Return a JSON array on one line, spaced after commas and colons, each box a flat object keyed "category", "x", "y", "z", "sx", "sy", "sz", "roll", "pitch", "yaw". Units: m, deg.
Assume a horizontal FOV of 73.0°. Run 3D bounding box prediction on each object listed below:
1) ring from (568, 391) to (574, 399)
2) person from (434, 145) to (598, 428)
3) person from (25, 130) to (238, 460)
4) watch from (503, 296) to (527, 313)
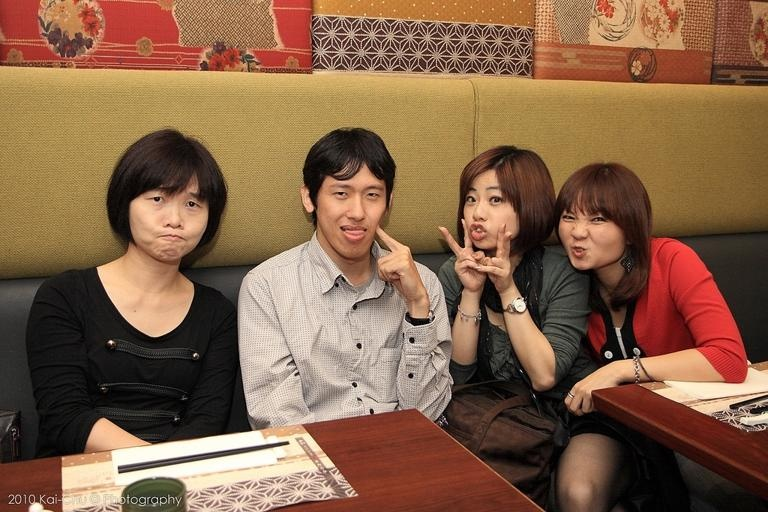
[{"category": "ring", "x": 0.620, "y": 0.461, "z": 1.715, "sx": 0.015, "sy": 0.007, "sz": 0.019, "roll": 13, "pitch": 31, "yaw": 13}, {"category": "person", "x": 0.462, "y": 0.144, "z": 1.929, "sx": 0.609, "sy": 1.001, "sz": 0.738, "roll": 1, "pitch": 17, "yaw": 31}, {"category": "person", "x": -0.699, "y": 0.155, "z": 1.607, "sx": 0.637, "sy": 1.018, "sz": 0.616, "roll": 1, "pitch": -7, "yaw": 39}, {"category": "watch", "x": 0.449, "y": 0.165, "z": 1.772, "sx": 0.068, "sy": 0.040, "sz": 0.062, "roll": -3, "pitch": -14, "yaw": -1}]
